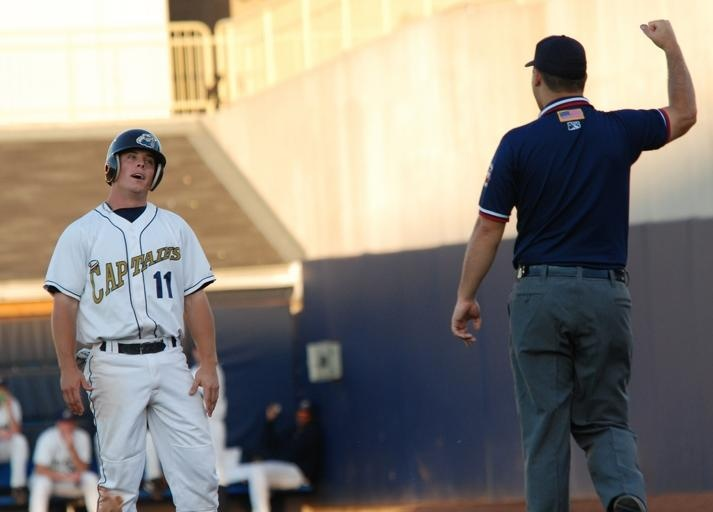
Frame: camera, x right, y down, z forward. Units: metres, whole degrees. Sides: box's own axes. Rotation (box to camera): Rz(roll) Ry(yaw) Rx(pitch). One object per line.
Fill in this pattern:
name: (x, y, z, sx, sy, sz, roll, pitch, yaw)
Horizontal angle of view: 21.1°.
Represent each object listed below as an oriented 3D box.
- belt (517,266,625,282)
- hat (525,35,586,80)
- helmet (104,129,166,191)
belt: (1.579, 0.124, 14.063, 0.785, 0.160, 0.122, -2, 5, 6)
hat: (1.479, -1.508, 14.175, 0.271, 0.225, 0.370, -6, 20, -27)
helmet: (-1.713, -0.746, 14.630, 0.382, 0.417, 0.492, 8, -22, -17)
